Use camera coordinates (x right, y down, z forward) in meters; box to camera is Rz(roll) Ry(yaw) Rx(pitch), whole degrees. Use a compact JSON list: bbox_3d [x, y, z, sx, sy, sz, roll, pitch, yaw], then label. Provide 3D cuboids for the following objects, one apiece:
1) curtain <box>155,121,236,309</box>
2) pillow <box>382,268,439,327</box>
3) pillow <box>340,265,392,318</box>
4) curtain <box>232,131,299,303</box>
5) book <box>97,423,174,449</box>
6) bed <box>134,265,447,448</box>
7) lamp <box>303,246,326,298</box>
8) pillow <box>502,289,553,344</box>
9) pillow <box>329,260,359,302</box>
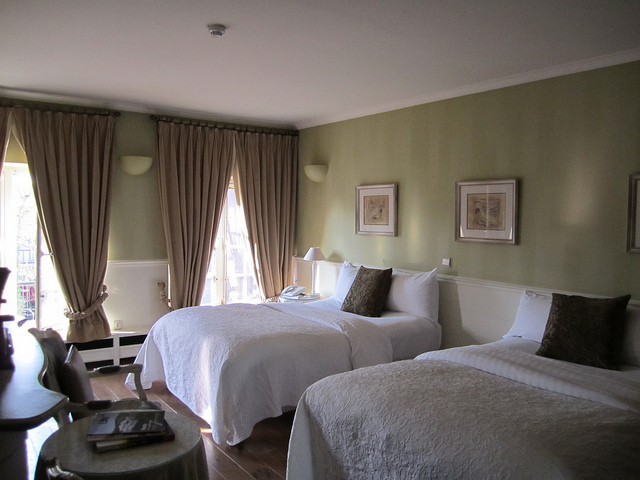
[{"bbox_3d":[-1.603,-0.376,6.096,0.945,2.400,0.475,-6,11,-20],"label":"curtain"},{"bbox_3d":[1.010,0.614,5.153,0.263,0.616,0.785,17,-13,-31],"label":"pillow"},{"bbox_3d":[0.520,0.534,5.045,0.162,0.533,0.527,29,-13,-40],"label":"pillow"},{"bbox_3d":[-0.724,-0.369,6.756,0.979,2.463,0.395,-10,13,-35],"label":"curtain"},{"bbox_3d":[-1.037,1.115,2.581,0.393,0.068,0.077,-8,12,-24],"label":"book"},{"bbox_3d":[-0.269,1.058,5.117,2.897,1.313,2.170,3,-2,-37],"label":"bed"},{"bbox_3d":[-0.078,0.443,6.283,0.292,0.666,0.287,2,1,-40],"label":"lamp"},{"bbox_3d":[1.858,0.698,4.047,0.115,0.399,0.396,20,6,-8],"label":"pillow"},{"bbox_3d":[0.306,0.505,5.588,0.105,0.393,0.330,11,15,-20],"label":"pillow"}]
